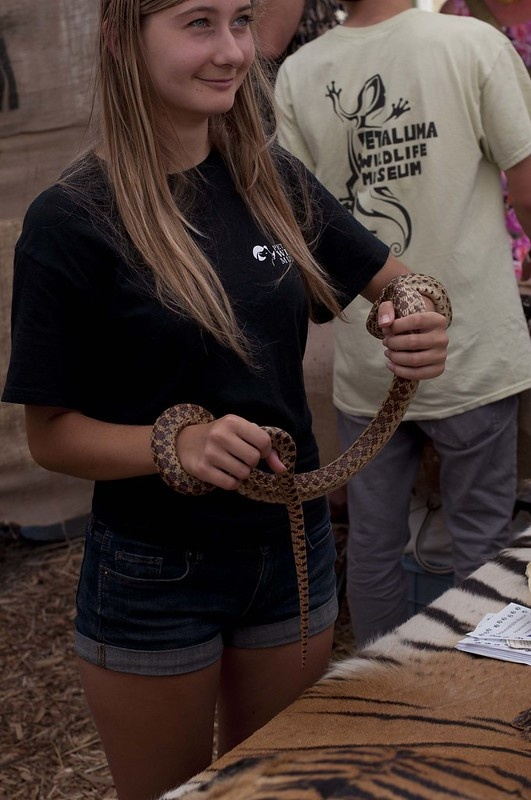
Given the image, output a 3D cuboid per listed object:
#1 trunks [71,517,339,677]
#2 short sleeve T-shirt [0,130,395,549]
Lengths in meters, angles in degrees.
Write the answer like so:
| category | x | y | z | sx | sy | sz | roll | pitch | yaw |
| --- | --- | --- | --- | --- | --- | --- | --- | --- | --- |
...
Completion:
| category | x | y | z | sx | sy | sz | roll | pitch | yaw |
| --- | --- | --- | --- | --- | --- | --- | --- | --- | --- |
| trunks | -0.131 | 0.275 | 1.478 | 0.553 | 0.262 | 0.309 | -4 | 6 | -37 |
| short sleeve T-shirt | -0.141 | -0.125 | 1.506 | 0.828 | 0.857 | 0.296 | -10 | 6 | -42 |
